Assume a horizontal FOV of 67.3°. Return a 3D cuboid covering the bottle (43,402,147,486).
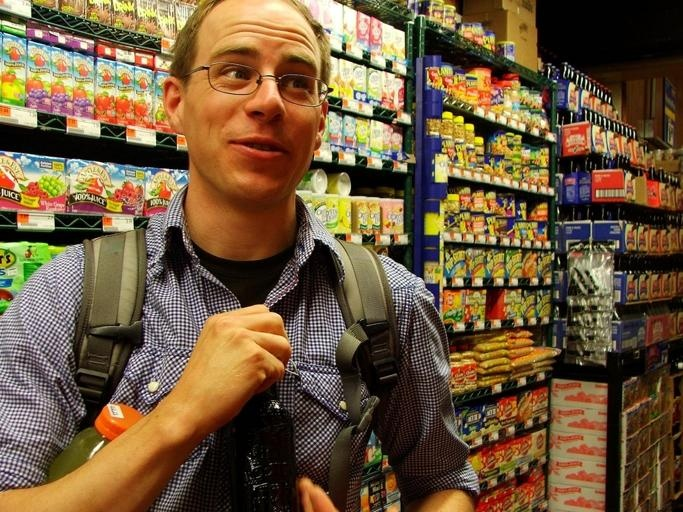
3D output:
[{"bbox_3d":[-0.473,0.352,0.963,0.142,0.134,0.130,2,2,23],"label":"bottle"}]
